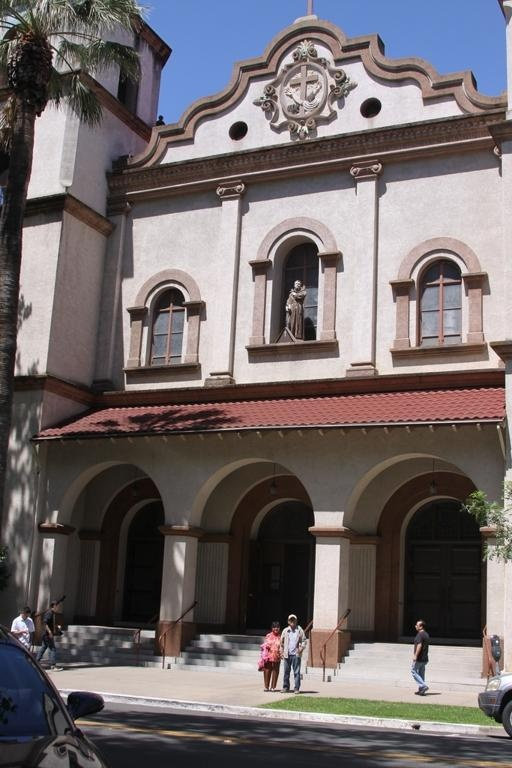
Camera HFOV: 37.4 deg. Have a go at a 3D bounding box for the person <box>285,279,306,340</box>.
[{"bbox_3d":[1.087,-2.001,20.930,0.606,1.488,0.430,-4,1,2],"label":"person"}]

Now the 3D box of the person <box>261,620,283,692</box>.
[{"bbox_3d":[0.299,5.101,13.961,0.390,1.182,0.772,-4,1,2],"label":"person"}]

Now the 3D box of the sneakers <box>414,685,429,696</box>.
[{"bbox_3d":[3.137,5.724,14.134,0.157,0.210,0.461,-1,-32,-4],"label":"sneakers"}]
